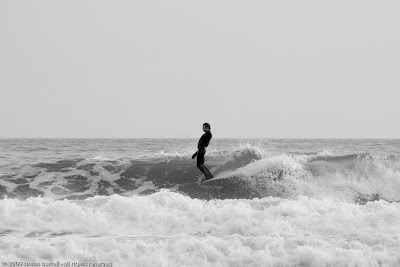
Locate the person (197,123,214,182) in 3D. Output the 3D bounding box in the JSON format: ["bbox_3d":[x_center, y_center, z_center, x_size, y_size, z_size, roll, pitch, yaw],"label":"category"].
[{"bbox_3d":[0.167,0.706,17.441,0.603,2.173,0.852,0,0,0],"label":"person"}]
